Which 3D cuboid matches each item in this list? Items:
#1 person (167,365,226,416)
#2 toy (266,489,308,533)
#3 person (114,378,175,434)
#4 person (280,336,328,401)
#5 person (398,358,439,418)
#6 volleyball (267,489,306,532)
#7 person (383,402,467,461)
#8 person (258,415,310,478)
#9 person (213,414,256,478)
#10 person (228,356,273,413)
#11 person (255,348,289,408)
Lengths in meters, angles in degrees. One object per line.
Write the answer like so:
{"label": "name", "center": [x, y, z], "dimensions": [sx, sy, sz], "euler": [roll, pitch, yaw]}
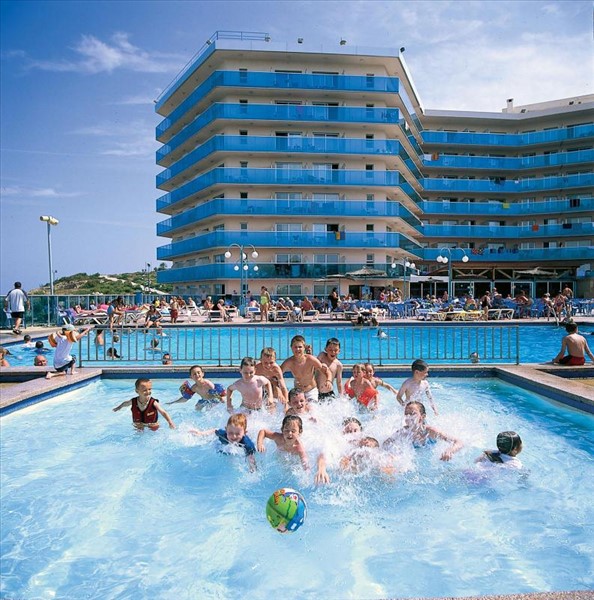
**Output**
{"label": "person", "center": [-1.761, 1.587, 11.867], "dimensions": [0.549, 0.335, 0.863], "euler": [16, -27, 6]}
{"label": "toy", "center": [-0.131, 2.222, 7.315], "dimensions": [0.353, 0.523, 0.397], "euler": [1, -1, -14]}
{"label": "person", "center": [-2.330, 1.767, 10.353], "dimensions": [0.918, 1.389, 0.310], "euler": [7, 33, -6]}
{"label": "person", "center": [0.094, 1.198, 11.780], "dimensions": [0.714, 1.055, 0.329], "euler": [-6, -6, -2]}
{"label": "person", "center": [1.935, 1.423, 10.911], "dimensions": [0.512, 1.507, 0.530], "euler": [-7, 13, -23]}
{"label": "volleyball", "center": [-0.124, 2.200, 7.226], "dimensions": [0.357, 0.525, 0.395], "euler": [1, -3, -17]}
{"label": "person", "center": [1.709, 1.752, 9.286], "dimensions": [1.023, 0.615, 0.695], "euler": [2, 11, 15]}
{"label": "person", "center": [-0.154, 1.773, 8.813], "dimensions": [0.356, 0.816, 0.852], "euler": [-7, 12, -32]}
{"label": "person", "center": [-0.847, 1.835, 9.330], "dimensions": [0.266, 0.693, 0.945], "euler": [-8, 13, -36]}
{"label": "person", "center": [-0.729, 1.238, 10.372], "dimensions": [0.548, 0.935, 0.632], "euler": [-8, 12, -35]}
{"label": "person", "center": [-0.417, 1.262, 10.892], "dimensions": [0.452, 0.965, 0.296], "euler": [-14, 23, 10]}
